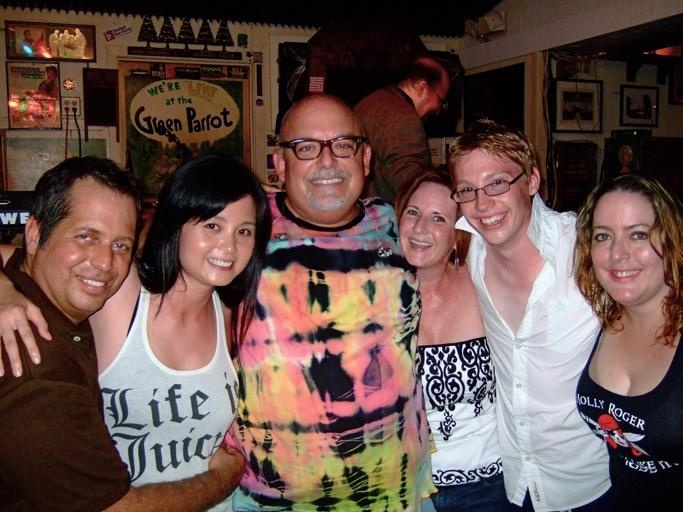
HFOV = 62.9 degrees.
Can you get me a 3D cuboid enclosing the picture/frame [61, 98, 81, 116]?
[{"bbox_3d":[-2.846,-1.580,5.911,0.163,0.160,0.040,-1,6,-14],"label":"picture/frame"}]
